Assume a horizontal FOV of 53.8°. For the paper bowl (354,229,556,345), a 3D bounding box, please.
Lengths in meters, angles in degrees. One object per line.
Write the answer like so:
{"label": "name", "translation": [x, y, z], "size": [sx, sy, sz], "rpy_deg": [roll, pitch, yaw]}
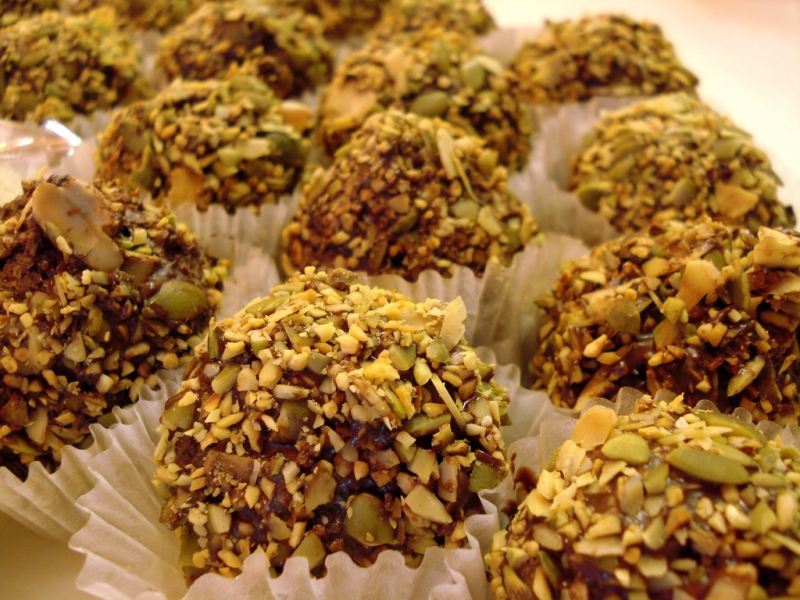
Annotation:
{"label": "paper bowl", "translation": [0.233, -0.025, 2.105], "size": [0.344, 0.170, 0.351], "rpy_deg": [-8, 14, 2]}
